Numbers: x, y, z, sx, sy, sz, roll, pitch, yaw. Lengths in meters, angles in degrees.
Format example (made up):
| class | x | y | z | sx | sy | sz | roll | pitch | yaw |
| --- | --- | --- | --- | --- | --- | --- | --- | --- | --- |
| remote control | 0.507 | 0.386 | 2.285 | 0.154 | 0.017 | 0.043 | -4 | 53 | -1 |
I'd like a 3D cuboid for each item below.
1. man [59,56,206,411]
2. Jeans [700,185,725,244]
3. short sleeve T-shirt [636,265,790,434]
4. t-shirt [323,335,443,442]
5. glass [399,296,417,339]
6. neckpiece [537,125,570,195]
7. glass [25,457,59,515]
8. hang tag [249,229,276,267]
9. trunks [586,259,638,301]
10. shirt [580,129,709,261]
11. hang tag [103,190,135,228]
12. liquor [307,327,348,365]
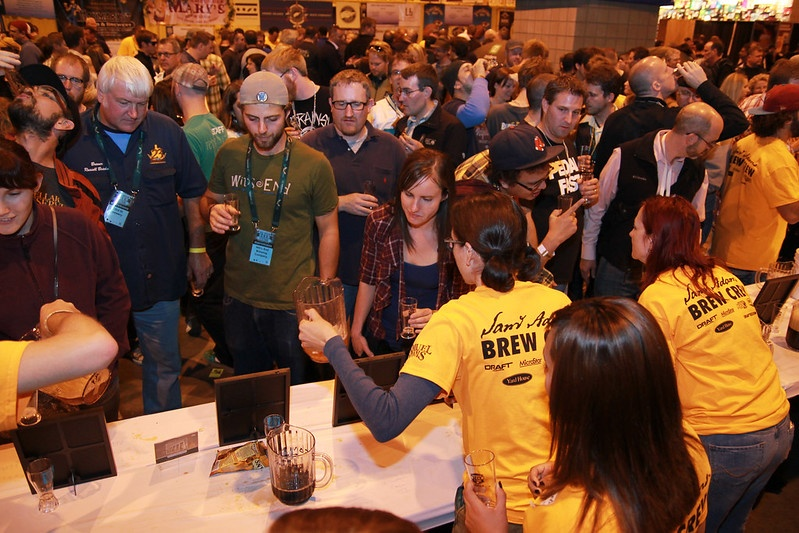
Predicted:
| class | x | y | z | sx | sy | sz | roll | pitch | yaw |
| --- | --- | --- | --- | --- | --- | --- | --- | --- | --- |
| man | -1.618 | -0.011 | 3.519 | 0.859 | 2.366 | 0.774 | -4 | 17 | -15 |
| Jeans | 2.922 | -0.411 | 5.237 | 0.237 | 0.332 | 0.175 | -7 | 16 | -3 |
| short sleeve T-shirt | 1.388 | 0.374 | 2.775 | 0.614 | 0.858 | 0.300 | -11 | -8 | -14 |
| t-shirt | -0.054 | 0.486 | 2.168 | 0.492 | 0.355 | 0.380 | 1 | -1 | -13 |
| glass | 0.045 | 0.269 | 2.919 | 0.117 | 0.183 | 0.121 | 4 | 4 | 17 |
| neckpiece | 1.098 | -0.696 | 3.874 | 0.146 | 0.436 | 0.310 | 4 | 4 | 26 |
| glass | -1.470 | 0.895 | 2.367 | 0.086 | 0.203 | 0.133 | -17 | 28 | -36 |
| hang tag | -0.801 | -0.115 | 3.381 | 0.156 | 0.266 | 0.030 | 14 | 3 | -8 |
| trunks | 1.473 | 0.081 | 3.926 | 0.102 | 0.293 | 0.132 | -25 | 50 | -31 |
| shirt | 1.804 | -0.415 | 4.114 | 0.808 | 1.031 | 0.471 | 17 | 17 | 14 |
| hang tag | -1.637 | -0.337 | 3.327 | 0.155 | 0.245 | 0.034 | 29 | -5 | -20 |
| liquor | -0.297 | 0.323 | 2.371 | 0.124 | 0.129 | 0.131 | 9 | 29 | 20 |
